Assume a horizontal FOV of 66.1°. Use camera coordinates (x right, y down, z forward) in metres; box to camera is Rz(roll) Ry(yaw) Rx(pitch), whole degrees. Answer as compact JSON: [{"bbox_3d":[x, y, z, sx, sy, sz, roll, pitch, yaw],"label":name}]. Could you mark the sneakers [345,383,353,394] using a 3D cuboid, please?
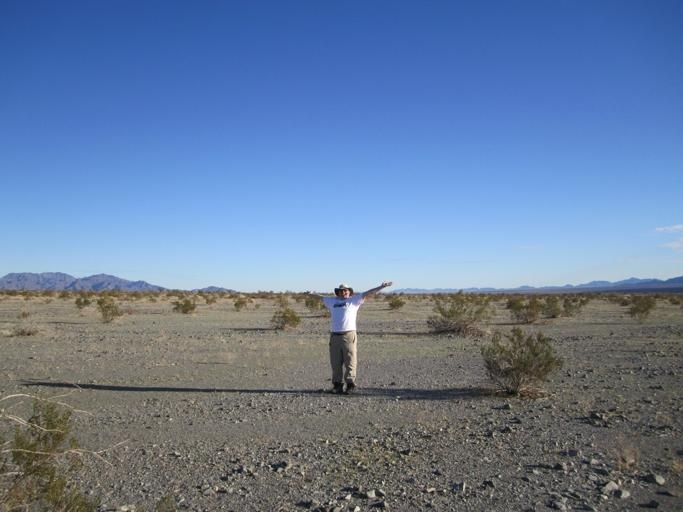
[{"bbox_3d":[0.235,3.351,13.300,0.251,0.234,0.225,-2,-3,9],"label":"sneakers"}]
